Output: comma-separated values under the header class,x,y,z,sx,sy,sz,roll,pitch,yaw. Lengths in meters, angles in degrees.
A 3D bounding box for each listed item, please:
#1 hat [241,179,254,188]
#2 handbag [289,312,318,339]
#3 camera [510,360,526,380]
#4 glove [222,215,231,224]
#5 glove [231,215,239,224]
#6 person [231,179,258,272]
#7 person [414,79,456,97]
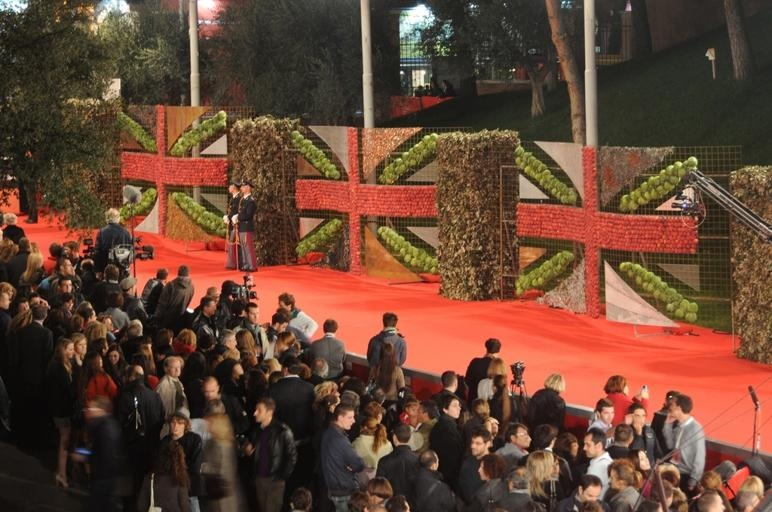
class,x,y,z,sx,sy,sz,roll,pitch,yaw
hat,-4.175,-2.166,36.536,0.285,0.258,0.850,0,2,-5
handbag,-1.770,1.519,26.033,0.599,0.604,0.435,0,2,-11
camera,2.671,2.330,24.468,0.251,0.359,0.670,0,2,3
glove,-4.820,-1.083,36.782,0.205,0.301,0.136,-10,4,6
glove,-4.526,-1.074,36.397,0.167,0.320,0.506,-1,2,-21
person,-4.268,-0.855,36.591,0.706,2.704,0.858,0,2,-8
person,2.506,-8.311,60.575,2.080,0.866,1.055,0,2,-17
